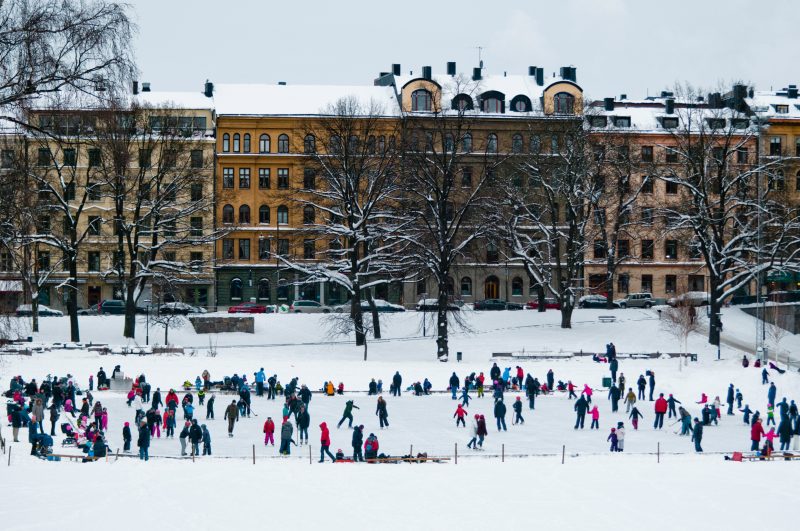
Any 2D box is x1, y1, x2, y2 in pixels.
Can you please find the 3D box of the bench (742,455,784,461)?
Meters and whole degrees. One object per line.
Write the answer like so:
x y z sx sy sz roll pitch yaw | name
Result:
21.557 11.412 105.248 2.363 0.381 0.678 -1 -5 -7 | bench

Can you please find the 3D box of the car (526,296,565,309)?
12.329 3.317 152.782 2.233 0.782 1.064 -4 1 1 | car

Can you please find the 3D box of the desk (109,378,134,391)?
-18.480 7.963 117.792 1.469 0.939 0.820 1 -10 -13 | desk

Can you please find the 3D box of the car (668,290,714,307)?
24.063 2.604 147.987 3.958 1.418 1.831 4 -4 -29 | car

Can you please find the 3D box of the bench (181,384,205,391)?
-13.773 8.071 117.380 1.028 0.436 0.759 -1 -1 3 | bench

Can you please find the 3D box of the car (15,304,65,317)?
-28.990 3.355 144.014 3.050 1.187 1.496 -1 -2 -2 | car

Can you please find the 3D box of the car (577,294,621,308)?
16.949 3.149 151.630 2.984 1.093 1.407 -1 0 -4 | car

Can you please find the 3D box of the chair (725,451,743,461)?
19.824 11.315 104.961 0.840 0.325 0.553 -2 0 -19 | chair
